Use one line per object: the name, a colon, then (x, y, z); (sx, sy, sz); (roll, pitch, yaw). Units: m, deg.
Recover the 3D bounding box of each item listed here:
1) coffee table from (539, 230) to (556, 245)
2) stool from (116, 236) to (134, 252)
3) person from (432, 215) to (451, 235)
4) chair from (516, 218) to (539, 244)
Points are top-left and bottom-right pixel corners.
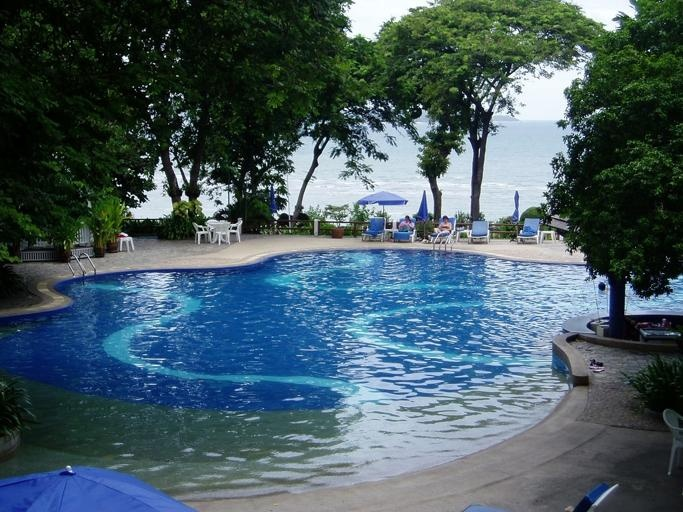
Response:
coffee table: (11.818, -1.142, 32.213); (1.065, 0.718, 0.994); (2, 12, 19)
stool: (-10.199, -0.510, 26.590); (0.890, 0.619, 0.836); (5, 6, 19)
person: (5.339, -1.622, 30.191); (0.918, 1.102, 1.268); (4, 3, 34)
chair: (10.496, -1.397, 31.442); (1.145, 1.280, 1.406); (5, 11, 19)
